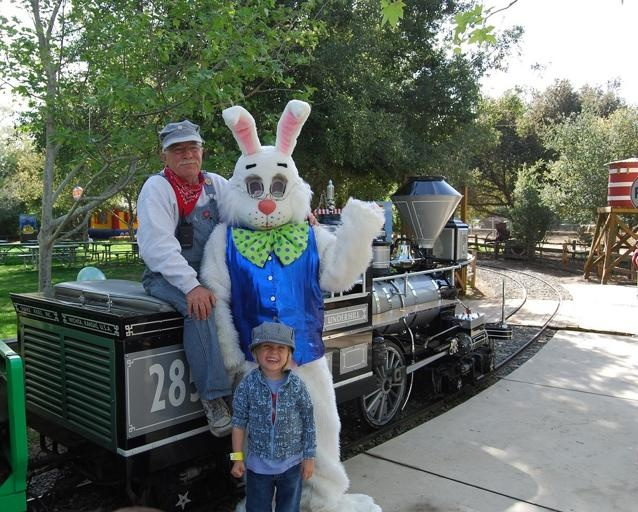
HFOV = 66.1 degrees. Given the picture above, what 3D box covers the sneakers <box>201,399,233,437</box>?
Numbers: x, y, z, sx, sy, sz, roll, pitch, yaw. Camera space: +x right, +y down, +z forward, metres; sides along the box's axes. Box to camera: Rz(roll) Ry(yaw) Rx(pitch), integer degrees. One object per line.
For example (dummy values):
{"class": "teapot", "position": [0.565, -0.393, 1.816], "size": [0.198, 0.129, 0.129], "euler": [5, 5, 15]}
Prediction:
{"class": "sneakers", "position": [-0.706, 1.110, 3.398], "size": [0.121, 0.166, 0.362], "euler": [1, -1, -29]}
